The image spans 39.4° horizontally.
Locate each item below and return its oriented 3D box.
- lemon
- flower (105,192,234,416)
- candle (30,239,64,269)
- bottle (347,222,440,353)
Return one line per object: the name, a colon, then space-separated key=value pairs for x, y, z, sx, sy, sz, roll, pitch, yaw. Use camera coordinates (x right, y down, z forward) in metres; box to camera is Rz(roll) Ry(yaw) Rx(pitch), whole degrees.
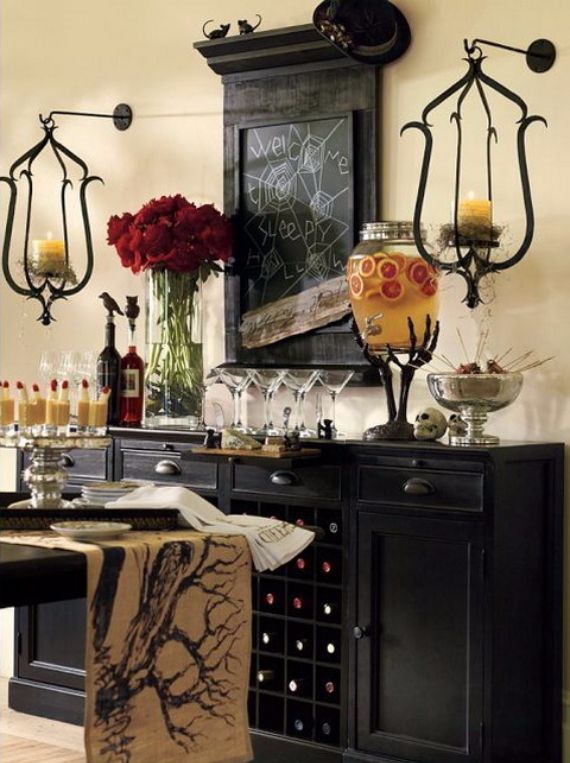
lemon: x=0.295 y=-0.281 z=2.265 sx=0.177 sy=0.098 sz=0.176 roll=0 pitch=1 yaw=31
flower: x=-0.396 y=-0.261 z=2.756 sx=0.441 sy=0.763 sz=0.232 roll=-1 pitch=0 yaw=-6
candle: x=-0.933 y=-0.497 z=3.119 sx=0.124 sy=0.107 sz=0.118 roll=-1 pitch=4 yaw=-27
bottle: x=0.329 y=-0.295 z=2.396 sx=0.306 sy=0.367 sz=0.291 roll=-3 pitch=15 yaw=1
